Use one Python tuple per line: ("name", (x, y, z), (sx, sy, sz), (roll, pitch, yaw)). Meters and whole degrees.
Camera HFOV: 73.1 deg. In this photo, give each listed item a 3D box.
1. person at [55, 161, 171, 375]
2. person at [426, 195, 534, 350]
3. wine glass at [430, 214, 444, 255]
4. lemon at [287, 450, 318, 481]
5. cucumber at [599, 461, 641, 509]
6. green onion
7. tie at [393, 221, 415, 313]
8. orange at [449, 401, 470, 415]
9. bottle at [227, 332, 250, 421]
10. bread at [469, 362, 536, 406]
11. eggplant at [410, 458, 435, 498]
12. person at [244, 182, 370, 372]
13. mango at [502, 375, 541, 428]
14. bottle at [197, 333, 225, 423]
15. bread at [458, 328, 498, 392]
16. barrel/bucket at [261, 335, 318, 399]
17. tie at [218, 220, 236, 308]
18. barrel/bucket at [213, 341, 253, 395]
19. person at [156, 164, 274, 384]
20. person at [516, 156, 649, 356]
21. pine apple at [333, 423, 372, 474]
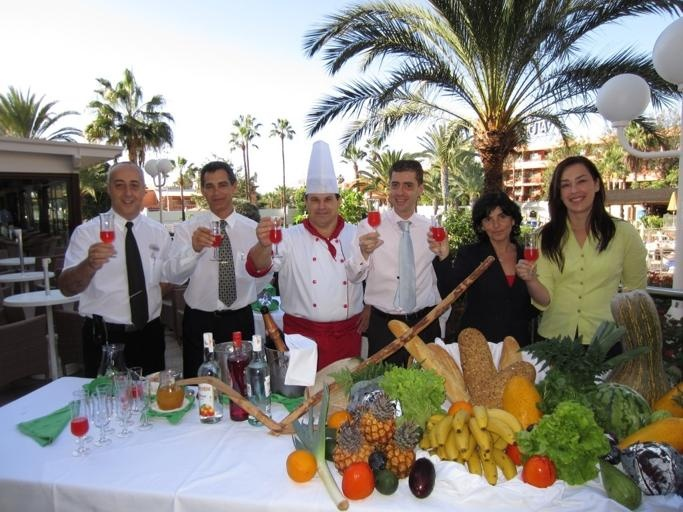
("person", (-1.806, 0.237, 3.579), (0.750, 2.218, 0.850), (0, 2, -7))
("person", (1.182, 0.156, 3.871), (0.517, 1.650, 0.588), (-1, 2, -9))
("wine glass", (0.688, -0.201, 3.344), (0.086, 0.218, 0.088), (-25, 27, -8))
("lemon", (-0.189, 0.993, 2.179), (0.142, 0.164, 0.147), (3, 6, 0))
("cucumber", (1.232, 1.011, 2.026), (0.163, 0.154, 0.113), (2, 7, 23))
("green onion", (-0.103, 0.921, 2.159), (0.202, 0.173, 0.560), (-9, 46, -10))
("tie", (0.517, 0.074, 3.671), (0.136, 0.760, 0.051), (3, -16, -6))
("orange", (0.593, 0.755, 2.299), (0.074, 0.084, 0.080), (-11, -2, 6))
("bottle", (-0.593, 0.665, 2.645), (0.143, 0.513, 0.165), (0, 10, -5))
("bread", (0.843, 0.631, 2.516), (0.315, 0.249, 0.327), (3, 6, -14))
("eggplant", (0.372, 1.014, 2.097), (0.117, 0.124, 0.206), (2, 21, 20))
("person", (-0.191, 0.201, 3.656), (0.582, 1.670, 0.717), (0, 2, 19))
("mango", (0.860, 0.706, 2.249), (0.131, 0.235, 0.133), (8, -24, -13))
("bottle", (-0.754, 0.697, 2.646), (0.128, 0.482, 0.128), (-3, 0, 0))
("bread", (0.771, 0.585, 2.620), (0.143, 0.374, 0.115), (-2, -26, -6))
("barrel/bucket", (-0.296, 0.630, 2.645), (0.309, 0.308, 0.261), (12, 11, 41))
("tie", (-0.969, 0.053, 3.874), (0.153, 0.704, 0.246), (-3, 6, -16))
("barrel/bucket", (-0.584, 0.670, 2.698), (0.139, 0.253, 0.162), (9, 20, 21))
("person", (-1.059, 0.101, 3.666), (0.708, 2.143, 0.738), (0, 2, 0))
("person", (1.748, 0.047, 3.424), (0.772, 1.660, 0.577), (3, 5, 14))
("pine apple", (0.044, 0.872, 2.155), (0.129, 0.251, 0.144), (-2, 7, -42))
